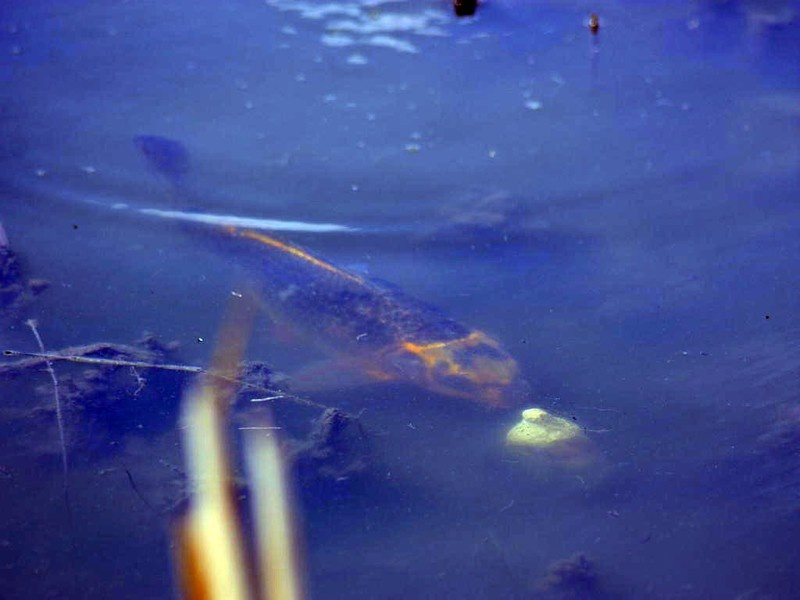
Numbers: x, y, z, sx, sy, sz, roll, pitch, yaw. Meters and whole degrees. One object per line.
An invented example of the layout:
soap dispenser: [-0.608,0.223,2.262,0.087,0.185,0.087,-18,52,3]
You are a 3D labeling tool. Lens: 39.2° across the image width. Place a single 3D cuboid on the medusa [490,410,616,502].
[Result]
medusa: [1.303,1.251,9.098,0.564,0.809,0.285,-56,-3,2]
